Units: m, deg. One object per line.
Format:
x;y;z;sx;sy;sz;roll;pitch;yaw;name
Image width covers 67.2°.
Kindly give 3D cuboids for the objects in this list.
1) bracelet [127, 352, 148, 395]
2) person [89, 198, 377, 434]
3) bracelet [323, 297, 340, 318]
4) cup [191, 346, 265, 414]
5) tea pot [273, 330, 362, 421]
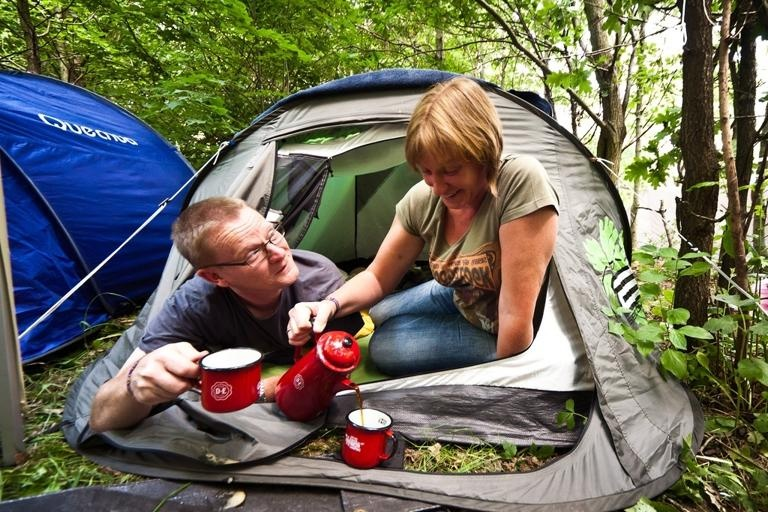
-1.310;0.614;3.017;0.068;0.179;0.143;6;-14;-15;bracelet
-1.112;0.243;3.651;1.204;0.731;1.440;-10;6;-20;person
-0.303;0.298;3.346;0.086;0.108;0.040;19;-23;-26;bracelet
-0.776;0.604;2.906;0.324;0.210;0.309;0;3;0;cup
-0.363;0.652;3.111;0.444;0.532;0.173;5;7;40;tea pot
